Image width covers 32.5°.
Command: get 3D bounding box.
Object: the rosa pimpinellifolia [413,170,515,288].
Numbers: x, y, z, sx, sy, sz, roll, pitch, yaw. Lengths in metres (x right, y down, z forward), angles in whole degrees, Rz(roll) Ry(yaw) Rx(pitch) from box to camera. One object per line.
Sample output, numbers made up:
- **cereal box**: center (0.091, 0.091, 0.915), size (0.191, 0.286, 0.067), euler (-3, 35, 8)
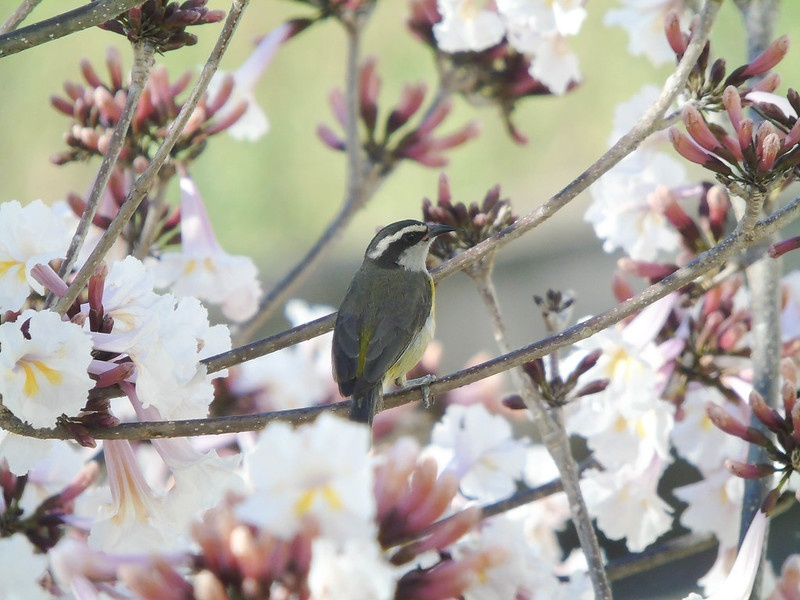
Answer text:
- **rosa pimpinellifolia**: center (0.160, -0.198, 3.671), size (0.265, 0.273, 0.239), euler (-13, 20, -33)
